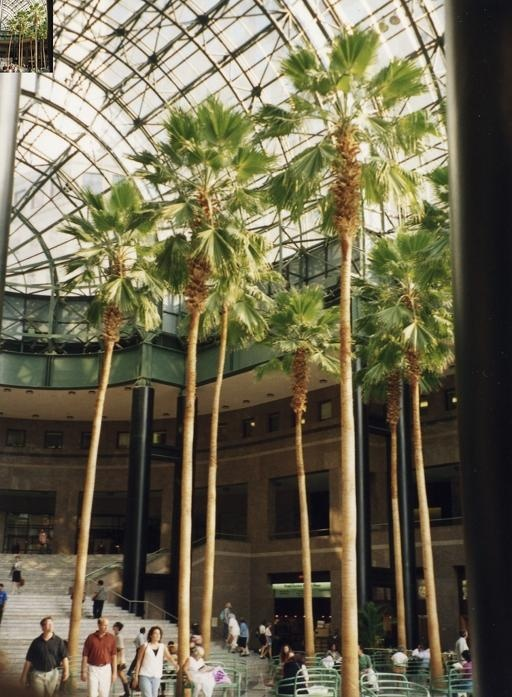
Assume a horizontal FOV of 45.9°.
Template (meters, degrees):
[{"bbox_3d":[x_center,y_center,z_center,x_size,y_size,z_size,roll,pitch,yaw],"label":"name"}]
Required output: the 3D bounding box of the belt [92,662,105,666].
[{"bbox_3d":[-2.427,4.925,9.382,0.154,0.040,0.046,10,-24,-21],"label":"belt"}]

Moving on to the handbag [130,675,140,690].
[{"bbox_3d":[-1.864,5.192,9.358,0.124,0.229,0.430,4,-23,-8],"label":"handbag"}]
